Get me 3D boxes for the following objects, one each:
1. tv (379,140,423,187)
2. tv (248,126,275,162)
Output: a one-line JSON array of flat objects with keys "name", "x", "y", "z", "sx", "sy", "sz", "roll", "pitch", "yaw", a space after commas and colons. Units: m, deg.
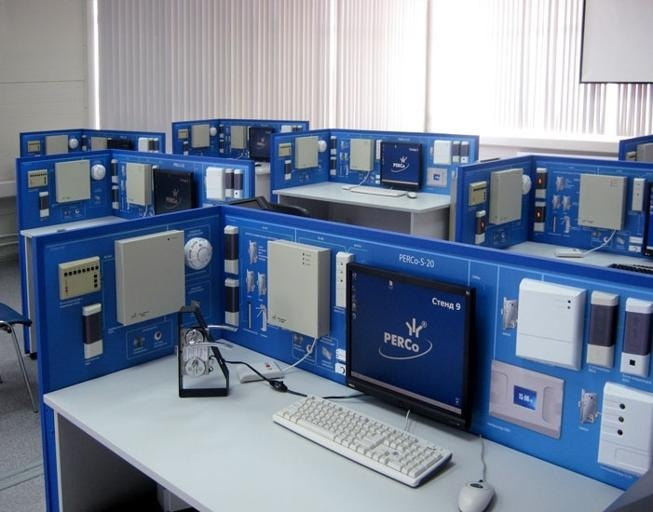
[{"name": "tv", "x": 0.715, "y": -0.866, "z": 4.982, "sx": 0.345, "sy": 0.403, "sz": 0.057, "roll": 9, "pitch": 14, "yaw": 33}, {"name": "tv", "x": -0.825, "y": -1.372, "z": 6.491, "sx": 0.494, "sy": 0.541, "sz": 0.122, "roll": 11, "pitch": 14, "yaw": 34}]
